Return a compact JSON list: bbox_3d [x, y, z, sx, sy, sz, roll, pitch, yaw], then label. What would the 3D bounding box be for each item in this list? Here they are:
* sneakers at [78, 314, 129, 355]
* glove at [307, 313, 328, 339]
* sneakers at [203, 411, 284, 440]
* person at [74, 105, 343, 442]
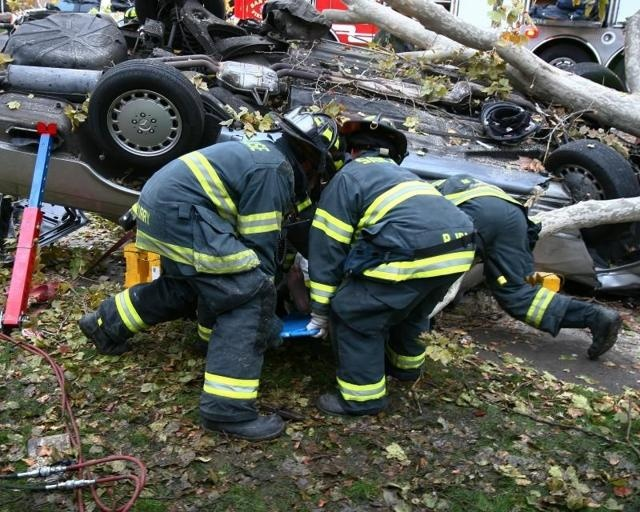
[{"bbox_3d":[-1.507,0.549,3.839,0.278,0.278,0.143,36,46,-29],"label":"sneakers"},{"bbox_3d":[-0.012,0.446,3.538,0.153,0.153,0.194,8,9,5],"label":"glove"},{"bbox_3d":[-0.432,0.983,3.243,0.486,0.135,0.157,-2,10,-7],"label":"sneakers"},{"bbox_3d":[-0.472,-0.008,3.484,1.622,1.863,1.113,27,26,36],"label":"person"}]
